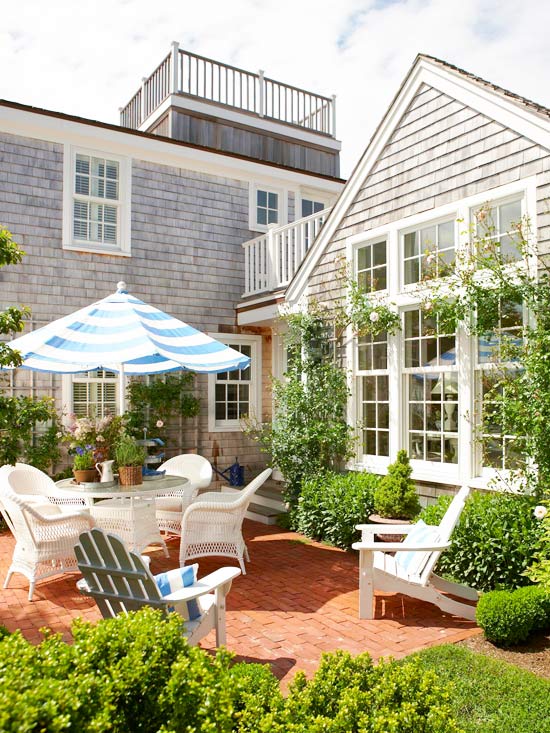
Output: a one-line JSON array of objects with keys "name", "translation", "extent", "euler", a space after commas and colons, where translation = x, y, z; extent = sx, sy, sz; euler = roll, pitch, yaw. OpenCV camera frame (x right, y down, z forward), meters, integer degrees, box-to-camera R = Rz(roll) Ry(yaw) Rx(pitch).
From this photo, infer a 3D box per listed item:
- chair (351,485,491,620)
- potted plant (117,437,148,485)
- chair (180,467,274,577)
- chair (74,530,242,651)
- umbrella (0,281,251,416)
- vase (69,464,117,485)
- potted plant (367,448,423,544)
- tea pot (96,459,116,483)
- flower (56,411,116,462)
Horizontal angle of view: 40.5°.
[{"name": "chair", "translation": [1.071, 1.430, 5.825], "extent": [1.162, 1.000, 0.995], "euler": [1, -1, -19]}, {"name": "potted plant", "translation": [-1.352, 0.868, 6.922], "extent": [0.254, 0.438, 0.252], "euler": [-4, -7, 23]}, {"name": "chair", "translation": [-0.509, 1.432, 6.852], "extent": [0.829, 0.922, 0.755], "euler": [-2, -11, 6]}, {"name": "chair", "translation": [-0.695, 1.323, 4.376], "extent": [0.939, 0.823, 0.643], "euler": [-1, -1, -20]}, {"name": "umbrella", "translation": [-1.338, -0.221, 6.992], "extent": [1.835, 1.009, 1.787], "euler": [-4, -6, 32]}, {"name": "vase", "translation": [-1.655, 0.970, 6.814], "extent": [0.367, 0.201, 0.379], "euler": [-1, -1, -27]}, {"name": "potted plant", "translation": [1.133, 1.134, 7.053], "extent": [0.379, 0.684, 0.395], "euler": [16, 9, 28]}, {"name": "tea pot", "translation": [-1.557, 0.959, 6.815], "extent": [0.205, 0.202, 0.141], "euler": [0, -3, 5]}, {"name": "flower", "translation": [-1.768, 0.643, 7.133], "extent": [0.470, 0.540, 0.541], "euler": [-4, 4, -8]}]
